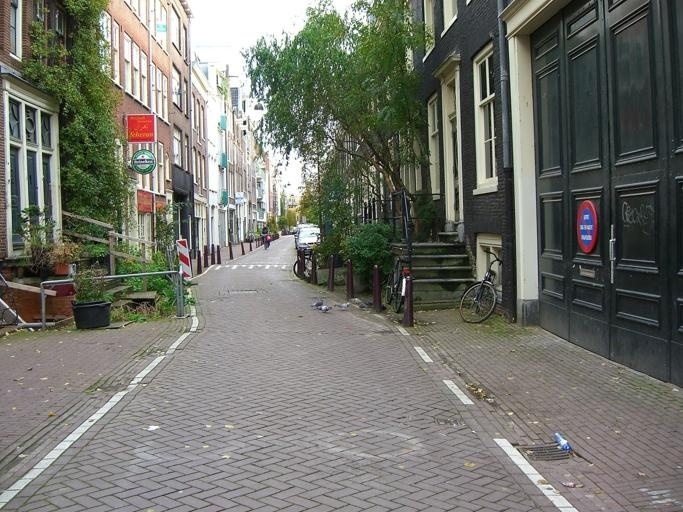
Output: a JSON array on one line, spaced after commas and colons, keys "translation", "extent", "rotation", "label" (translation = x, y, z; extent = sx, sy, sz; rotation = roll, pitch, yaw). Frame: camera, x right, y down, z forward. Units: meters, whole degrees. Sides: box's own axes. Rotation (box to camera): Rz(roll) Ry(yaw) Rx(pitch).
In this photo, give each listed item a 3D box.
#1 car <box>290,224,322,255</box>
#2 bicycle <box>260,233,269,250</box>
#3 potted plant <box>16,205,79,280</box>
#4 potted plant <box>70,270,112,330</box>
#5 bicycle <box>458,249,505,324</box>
[{"translation": [-2.148, -1.165, 40.459], "extent": [1.462, 1.516, 3.737], "rotation": [-2, 1, -4], "label": "car"}, {"translation": [-6.348, -1.263, 53.859], "extent": [0.811, 1.203, 1.843], "rotation": [-1, 3, -7], "label": "bicycle"}, {"translation": [-6.929, -0.342, 15.080], "extent": [1.091, 1.638, 1.653], "rotation": [-4, 5, -42], "label": "potted plant"}, {"translation": [-5.055, 0.896, 13.240], "extent": [0.882, 1.477, 0.978], "rotation": [0, -1, -6], "label": "potted plant"}, {"translation": [2.910, 0.600, 13.352], "extent": [0.873, 1.333, 1.617], "rotation": [0, 4, 12], "label": "bicycle"}]
